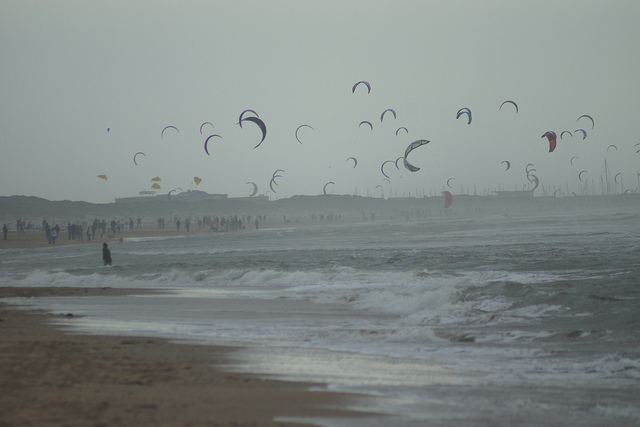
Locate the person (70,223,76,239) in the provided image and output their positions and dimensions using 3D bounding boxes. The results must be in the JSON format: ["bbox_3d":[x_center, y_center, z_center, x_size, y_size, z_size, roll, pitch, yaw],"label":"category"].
[{"bbox_3d":[-17.456,1.352,55.590,0.366,1.041,1.685,-3,5,-19],"label":"person"}]

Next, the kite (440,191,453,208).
[{"bbox_3d":[16.787,-1.469,105.934,0.802,2.836,2.629,3,-1,2],"label":"kite"}]

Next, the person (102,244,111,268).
[{"bbox_3d":[-9.493,1.848,35.051,0.289,0.973,0.419,-3,5,-17],"label":"person"}]
